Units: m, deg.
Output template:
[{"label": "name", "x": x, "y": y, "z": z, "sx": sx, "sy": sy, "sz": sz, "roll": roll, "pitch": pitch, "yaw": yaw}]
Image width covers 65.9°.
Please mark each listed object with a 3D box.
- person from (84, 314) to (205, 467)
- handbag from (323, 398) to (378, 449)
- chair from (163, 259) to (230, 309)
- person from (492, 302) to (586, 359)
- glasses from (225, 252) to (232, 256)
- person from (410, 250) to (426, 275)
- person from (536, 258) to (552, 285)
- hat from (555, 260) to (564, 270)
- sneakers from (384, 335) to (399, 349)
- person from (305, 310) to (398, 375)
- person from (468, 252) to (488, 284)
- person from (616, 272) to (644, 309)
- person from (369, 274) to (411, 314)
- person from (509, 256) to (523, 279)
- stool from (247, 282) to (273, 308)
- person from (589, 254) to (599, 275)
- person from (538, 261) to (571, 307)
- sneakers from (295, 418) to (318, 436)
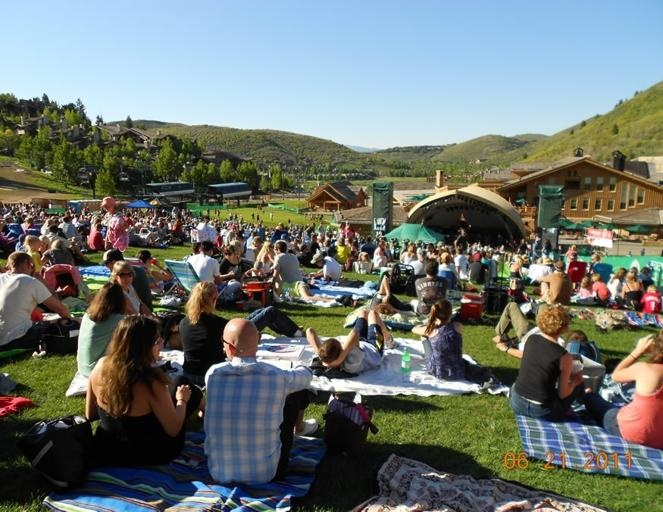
[{"label": "person", "x": -1.897, "y": 1.324, "z": 4.994, "sx": 0.911, "sy": 1.526, "sz": 0.501, "roll": 0, "pitch": 10, "yaw": -17}, {"label": "handbag", "x": 0.208, "y": 1.832, "z": 5.702, "sx": 0.413, "sy": 0.564, "sz": 0.523, "roll": 8, "pitch": 14, "yaw": 33}, {"label": "chair", "x": -2.993, "y": 0.396, "z": 11.069, "sx": 0.870, "sy": 1.305, "sz": 0.983, "roll": 8, "pitch": 31, "yaw": 24}, {"label": "person", "x": 3.411, "y": 1.329, "z": 9.063, "sx": 1.339, "sy": 0.594, "sz": 1.013, "roll": 0, "pitch": 19, "yaw": 38}, {"label": "glasses", "x": -2.394, "y": -0.045, "z": 12.074, "sx": 0.165, "sy": 0.079, "sz": 0.043, "roll": 9, "pitch": 12, "yaw": 31}, {"label": "person", "x": 2.388, "y": 0.203, "z": 14.337, "sx": 0.464, "sy": 0.962, "sz": 0.542, "roll": 0, "pitch": 49, "yaw": 5}, {"label": "person", "x": 5.535, "y": 0.388, "z": 13.437, "sx": 0.214, "sy": 0.714, "sz": 0.343, "roll": 26, "pitch": -16, "yaw": -26}, {"label": "hat", "x": 4.929, "y": 0.222, "z": 11.089, "sx": 0.191, "sy": 0.237, "sz": 0.248, "roll": 1, "pitch": 23, "yaw": 18}, {"label": "sneakers", "x": 1.079, "y": 1.553, "z": 9.165, "sx": 0.175, "sy": 0.267, "sz": 0.276, "roll": 1, "pitch": 0, "yaw": 24}, {"label": "person", "x": 0.338, "y": 1.302, "z": 8.011, "sx": 0.594, "sy": 0.794, "sz": 1.567, "roll": -1, "pitch": 23, "yaw": 33}, {"label": "person", "x": 4.585, "y": 0.422, "z": 16.210, "sx": 0.765, "sy": 1.142, "sz": 0.810, "roll": 3, "pitch": 19, "yaw": 18}, {"label": "person", "x": 7.641, "y": 0.926, "z": 13.105, "sx": 0.692, "sy": 0.949, "sz": 0.666, "roll": -5, "pitch": -7, "yaw": 6}, {"label": "person", "x": 1.299, "y": 0.847, "z": 11.020, "sx": 0.795, "sy": 0.662, "sz": 1.087, "roll": 4, "pitch": 10, "yaw": 9}, {"label": "person", "x": 5.712, "y": 0.374, "z": 15.922, "sx": 0.453, "sy": 0.596, "sz": 1.054, "roll": -6, "pitch": 6, "yaw": 25}, {"label": "stool", "x": -1.521, "y": 0.840, "z": 10.948, "sx": 0.495, "sy": 0.378, "sz": 0.507, "roll": 0, "pitch": 0, "yaw": -2}, {"label": "person", "x": 8.365, "y": 0.227, "z": 16.353, "sx": 0.218, "sy": 0.651, "sz": 0.982, "roll": 7, "pitch": 11, "yaw": 26}, {"label": "person", "x": 4.398, "y": 0.544, "z": 10.149, "sx": 0.518, "sy": 0.909, "sz": 0.733, "roll": 0, "pitch": 13, "yaw": -16}, {"label": "sneakers", "x": -0.280, "y": 2.025, "z": 6.039, "sx": 0.132, "sy": 0.157, "sz": 0.356, "roll": 8, "pitch": 5, "yaw": 28}]
